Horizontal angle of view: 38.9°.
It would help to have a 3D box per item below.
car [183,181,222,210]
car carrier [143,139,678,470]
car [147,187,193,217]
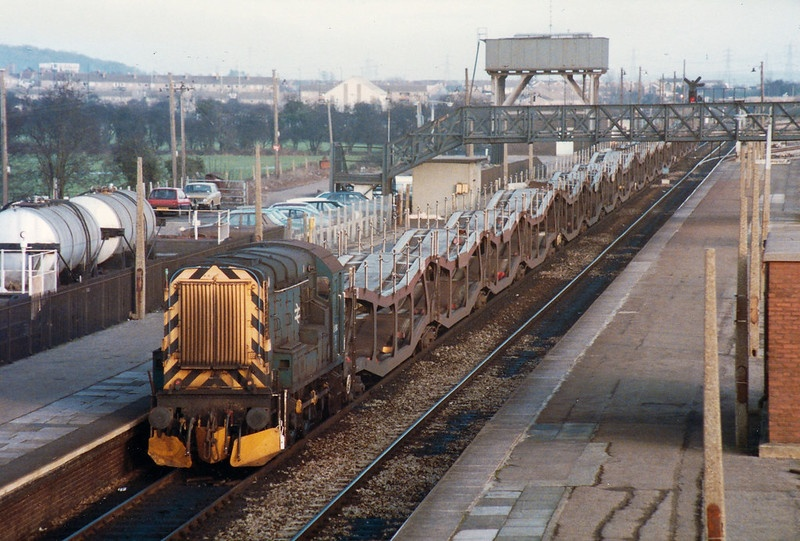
[{"bbox_3d":[-12.234,-4.716,70.845,1.547,1.197,2.864,0,2,3],"label":"car"},{"bbox_3d":[-0.075,-0.150,38.765,24.507,2.210,2.359,-23,-5,40],"label":"car carrier"},{"bbox_3d":[-13.409,-4.043,65.995,1.808,1.466,3.202,1,11,9],"label":"car"}]
